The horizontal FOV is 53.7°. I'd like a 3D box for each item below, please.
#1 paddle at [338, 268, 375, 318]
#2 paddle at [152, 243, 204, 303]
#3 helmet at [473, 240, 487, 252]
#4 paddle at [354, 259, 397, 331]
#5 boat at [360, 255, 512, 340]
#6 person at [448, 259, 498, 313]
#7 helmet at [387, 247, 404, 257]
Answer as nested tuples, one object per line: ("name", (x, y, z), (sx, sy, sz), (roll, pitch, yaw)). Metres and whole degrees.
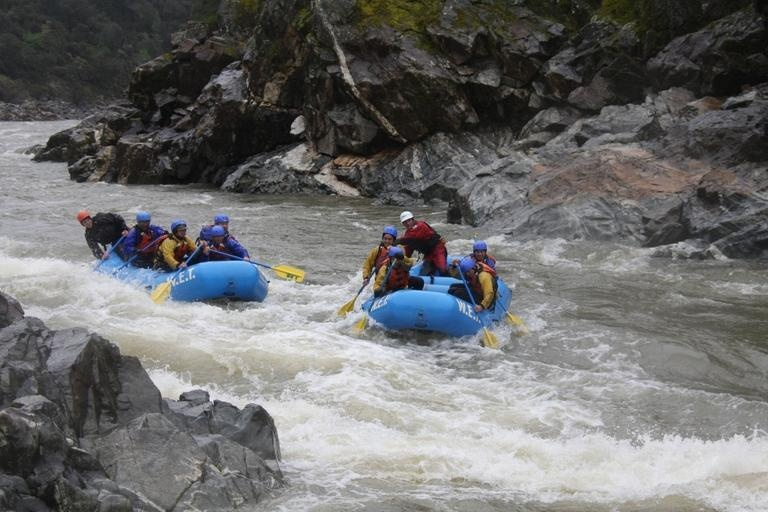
("paddle", (-0.641, 0.938, 18.307), (0.273, 1.551, 0.136), (45, -24, -1))
("paddle", (-4.714, 0.401, 18.132), (0.399, 0.174, 2.258), (44, 46, -1))
("helmet", (2.226, -0.215, 17.435), (0.279, 0.221, 0.322), (-1, -14, 5))
("paddle", (-0.151, 0.921, 17.197), (0.274, 1.828, 0.097), (29, -13, 7))
("boat", (1.005, 1.107, 18.154), (3.043, 0.833, 4.366), (1, 5, 3))
("person", (2.063, 0.703, 16.965), (1.365, 1.532, 1.024), (-2, 44, 5))
("helmet", (0.250, -0.111, 17.007), (0.243, 0.257, 0.205), (44, -14, -36))
